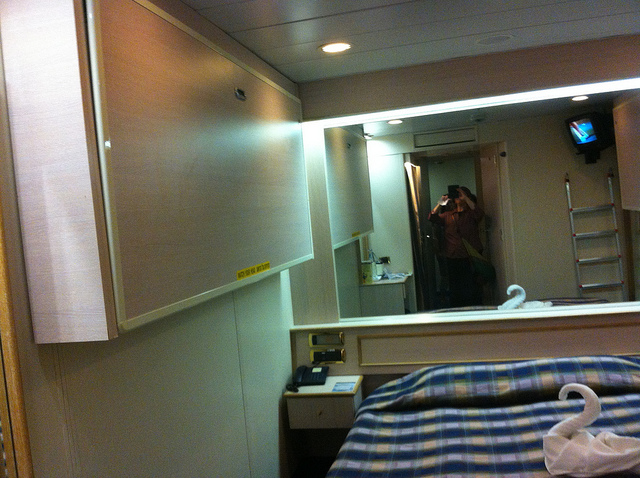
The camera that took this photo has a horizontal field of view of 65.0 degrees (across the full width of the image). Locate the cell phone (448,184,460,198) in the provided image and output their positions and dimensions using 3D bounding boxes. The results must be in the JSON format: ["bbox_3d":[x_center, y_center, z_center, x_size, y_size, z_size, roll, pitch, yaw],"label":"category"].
[{"bbox_3d":[1.149,-0.423,4.325,0.105,0.096,0.025,0,14,4],"label":"cell phone"}]

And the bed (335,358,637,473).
[{"bbox_3d":[0.876,0.885,2.599,1.516,0.520,0.766,-6,-2,12],"label":"bed"}]

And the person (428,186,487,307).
[{"bbox_3d":[1.207,0.066,4.335,0.480,1.014,0.324,-6,-2,15],"label":"person"}]

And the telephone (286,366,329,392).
[{"bbox_3d":[-0.058,0.915,3.351,0.217,0.127,0.156,-6,-2,12],"label":"telephone"}]

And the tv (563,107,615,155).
[{"bbox_3d":[2.314,-0.960,4.222,0.370,0.346,0.322,-23,5,-21],"label":"tv"}]
